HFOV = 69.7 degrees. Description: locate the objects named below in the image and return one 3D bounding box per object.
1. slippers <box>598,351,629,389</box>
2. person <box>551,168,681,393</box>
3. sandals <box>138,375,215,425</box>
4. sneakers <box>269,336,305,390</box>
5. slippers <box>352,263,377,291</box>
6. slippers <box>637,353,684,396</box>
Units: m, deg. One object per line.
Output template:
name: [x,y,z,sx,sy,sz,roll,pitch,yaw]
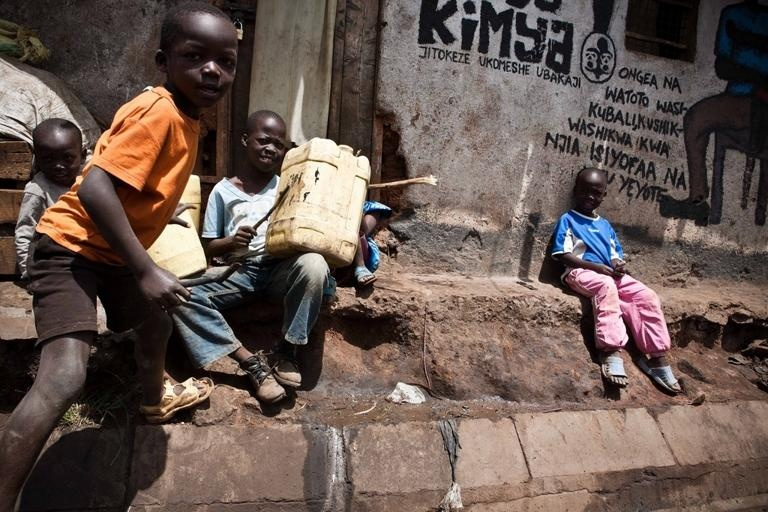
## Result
slippers: [2.086,0.994,5.021,0.215,0.165,0.416,7,30,1]
person: [2.209,0.176,5.315,0.773,1.926,1.361,0,15,-30]
sandals: [-1.440,1.019,3.939,0.527,0.261,0.204,-27,35,-31]
sneakers: [-0.747,0.827,4.219,0.187,0.200,0.447,6,15,-33]
slippers: [-0.163,0.177,4.807,0.196,0.187,0.271,4,13,-15]
slippers: [2.562,1.098,5.261,0.513,0.208,0.217,40,11,11]
